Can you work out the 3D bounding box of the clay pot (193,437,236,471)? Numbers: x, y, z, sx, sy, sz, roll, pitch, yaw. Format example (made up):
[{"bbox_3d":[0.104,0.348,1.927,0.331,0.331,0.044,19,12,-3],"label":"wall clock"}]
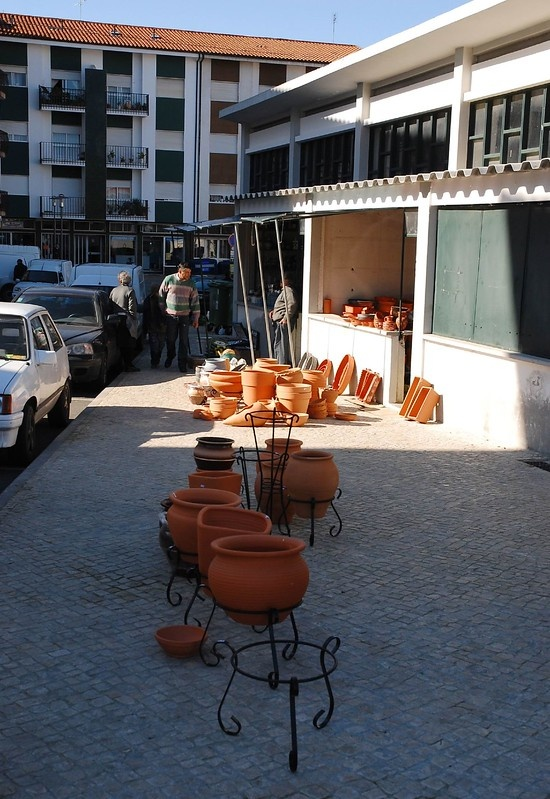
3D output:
[{"bbox_3d":[-0.544,0.475,5.655,0.287,0.221,0.307,0,2,0],"label":"clay pot"}]

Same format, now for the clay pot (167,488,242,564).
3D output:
[{"bbox_3d":[-0.484,0.772,4.124,0.440,0.355,0.452,6,1,0],"label":"clay pot"}]

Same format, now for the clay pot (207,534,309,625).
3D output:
[{"bbox_3d":[-0.087,0.888,3.020,0.454,0.457,0.417,2,2,0],"label":"clay pot"}]

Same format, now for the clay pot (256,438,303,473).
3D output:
[{"bbox_3d":[0.033,0.483,5.850,0.328,0.396,0.363,1,-1,2],"label":"clay pot"}]

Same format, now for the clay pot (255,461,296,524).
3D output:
[{"bbox_3d":[-0.058,0.845,5.789,0.380,0.505,0.410,-4,-20,-1],"label":"clay pot"}]

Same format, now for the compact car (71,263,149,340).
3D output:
[{"bbox_3d":[-5.682,-3.341,20.635,2.681,2.696,4.827,3,4,-16],"label":"compact car"}]

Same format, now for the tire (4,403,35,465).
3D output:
[{"bbox_3d":[-3.133,0.437,7.911,0.220,0.759,0.661,2,2,-10],"label":"tire"}]

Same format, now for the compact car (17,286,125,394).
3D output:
[{"bbox_3d":[-4.203,-1.398,13.992,1.793,1.227,2.614,1,8,0],"label":"compact car"}]

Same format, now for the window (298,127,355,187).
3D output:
[{"bbox_3d":[1.260,-6.847,18.758,0.286,1.405,2.695,3,10,-34],"label":"window"}]

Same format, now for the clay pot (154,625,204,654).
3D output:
[{"bbox_3d":[-0.507,1.275,3.401,0.258,0.121,0.259,2,2,0],"label":"clay pot"}]

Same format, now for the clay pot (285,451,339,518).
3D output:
[{"bbox_3d":[0.273,0.712,5.643,0.521,0.613,0.525,1,0,0],"label":"clay pot"}]

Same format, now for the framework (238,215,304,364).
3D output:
[{"bbox_3d":[-0.077,-2.785,16.518,1.409,4.236,4.382,0,8,-8],"label":"framework"}]
